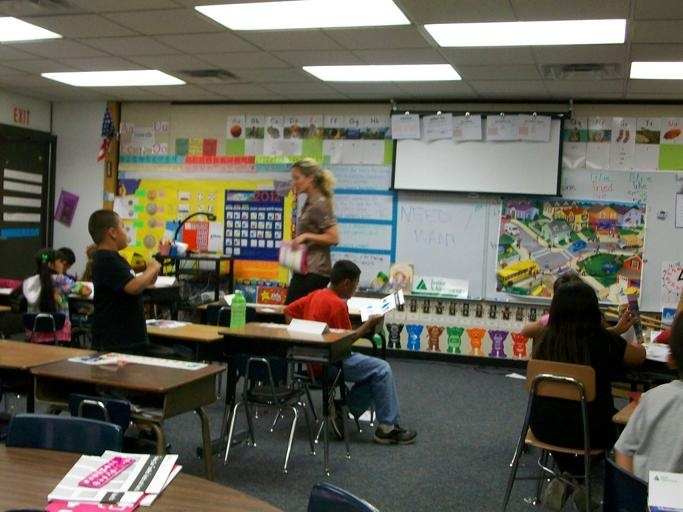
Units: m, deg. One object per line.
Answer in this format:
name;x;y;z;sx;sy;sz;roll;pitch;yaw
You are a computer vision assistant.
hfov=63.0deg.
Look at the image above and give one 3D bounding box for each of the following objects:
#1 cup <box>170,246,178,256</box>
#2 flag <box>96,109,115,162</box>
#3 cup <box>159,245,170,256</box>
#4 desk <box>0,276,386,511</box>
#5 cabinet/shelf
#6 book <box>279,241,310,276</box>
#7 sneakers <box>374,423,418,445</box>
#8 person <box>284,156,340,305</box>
cup;-2.207;-0.059;7.393;0.111;0.117;0.107;1;-8;0
flag;-3.389;-1.746;8.011;0.304;0.773;0.132;3;4;13
cup;-2.343;-0.063;7.396;0.135;0.147;0.138;1;-13;0
desk;-0.993;1.015;3.567;1.301;0.964;1.781;5;5;35
cabinet/shelf;-1.833;0.380;6.859;0.780;0.766;0.331;4;9;21
book;-0.376;0.013;4.355;0.216;0.251;0.163;2;4;-5
sneakers;0.435;1.441;4.506;0.339;0.172;0.140;0;3;-1
person;-0.311;0.057;4.583;0.525;1.653;0.495;1;8;-7
